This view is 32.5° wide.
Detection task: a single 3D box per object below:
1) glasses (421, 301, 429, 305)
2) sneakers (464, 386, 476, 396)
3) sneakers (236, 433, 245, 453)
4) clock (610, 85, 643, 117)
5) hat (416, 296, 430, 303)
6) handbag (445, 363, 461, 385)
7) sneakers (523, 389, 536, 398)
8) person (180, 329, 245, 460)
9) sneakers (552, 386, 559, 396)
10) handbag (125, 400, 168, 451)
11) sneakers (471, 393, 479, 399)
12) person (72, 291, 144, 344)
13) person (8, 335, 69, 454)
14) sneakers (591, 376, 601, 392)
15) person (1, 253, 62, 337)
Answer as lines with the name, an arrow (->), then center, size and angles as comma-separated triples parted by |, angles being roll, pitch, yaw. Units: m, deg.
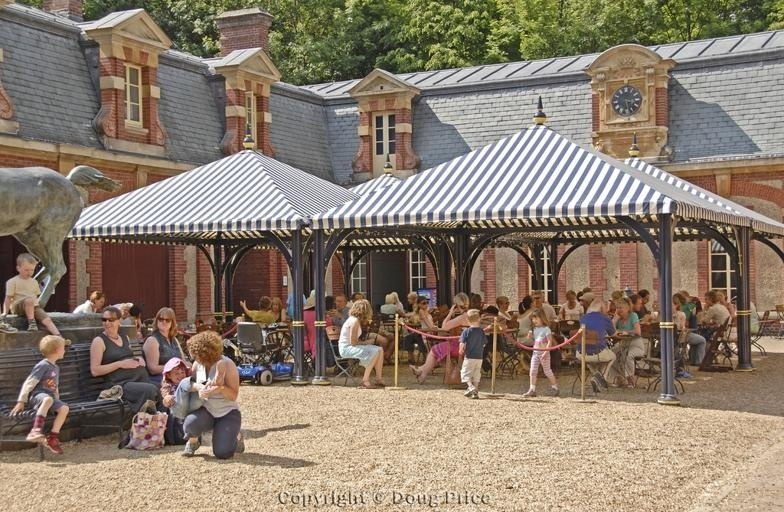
glasses -> 0.765, 1.046, 29.900 | 0.130, 0.071, 0.152 | 2, 0, -18
sneakers -> 1.548, 2.732, 26.814 | 0.123, 0.126, 0.271 | 19, -38, -22
sneakers -> -2.629, 3.295, 23.649 | 0.122, 0.350, 0.145 | 1, -6, -8
clock -> 6.580, -4.394, 37.639 | 0.918, 0.957, 0.108 | -1, -5, 42
hat -> 0.698, 0.979, 30.135 | 0.183, 0.183, 0.157 | -38, -7, 29
handbag -> 1.283, 2.460, 28.027 | 0.390, 0.470, 0.146 | 3, 9, 11
sneakers -> 2.699, 2.750, 26.806 | 0.319, 0.137, 0.113 | 1, -3, 26
person -> -3.116, 2.439, 23.399 | 0.942, 2.213, 0.500 | 0, -2, -2
sneakers -> 3.267, 2.693, 27.063 | 0.168, 0.217, 0.480 | -1, -2, 7
handbag -> -4.341, 3.051, 24.110 | 0.809, 0.920, 0.378 | 6, 0, -28
sneakers -> 1.664, 2.786, 26.757 | 0.120, 0.088, 0.118 | 1, -4, -45
person -> -5.641, 1.097, 27.149 | 1.230, 0.963, 1.210 | 1, 5, -10
person -> -6.090, 2.441, 23.656 | 0.898, 2.090, 0.575 | 0, -2, -15
sneakers -> 4.068, 2.588, 26.953 | 0.132, 0.373, 0.157 | 3, 7, 31
person -> -6.590, 0.692, 24.764 | 1.025, 1.509, 0.669 | 0, -2, -10
